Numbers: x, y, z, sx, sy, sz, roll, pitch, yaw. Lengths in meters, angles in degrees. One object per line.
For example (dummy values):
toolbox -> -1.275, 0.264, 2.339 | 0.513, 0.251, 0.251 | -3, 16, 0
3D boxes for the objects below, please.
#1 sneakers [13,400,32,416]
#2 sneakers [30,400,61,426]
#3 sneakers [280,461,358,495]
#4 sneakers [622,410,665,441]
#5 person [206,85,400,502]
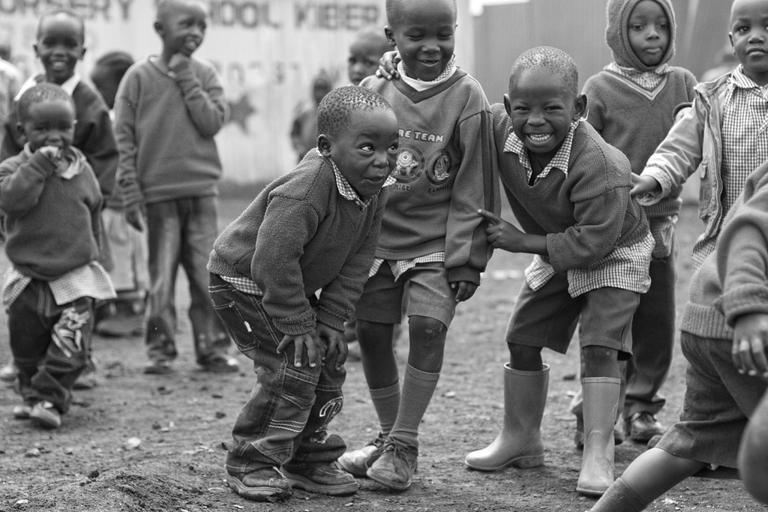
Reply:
sneakers -> -2.303, 0.968, 7.484 | 0.114, 0.105, 0.069 | 25, 5, 29
sneakers -> -2.136, 1.004, 7.404 | 0.180, 0.171, 0.109 | -4, 14, -19
sneakers -> -0.354, 1.239, 6.677 | 0.508, 0.210, 0.197 | 2, -7, 44
sneakers -> 1.659, 1.047, 7.366 | 0.209, 0.188, 0.430 | 0, -1, 4
person -> -0.415, 0.214, 6.399 | 1.000, 2.242, 0.473 | -2, 14, -8
